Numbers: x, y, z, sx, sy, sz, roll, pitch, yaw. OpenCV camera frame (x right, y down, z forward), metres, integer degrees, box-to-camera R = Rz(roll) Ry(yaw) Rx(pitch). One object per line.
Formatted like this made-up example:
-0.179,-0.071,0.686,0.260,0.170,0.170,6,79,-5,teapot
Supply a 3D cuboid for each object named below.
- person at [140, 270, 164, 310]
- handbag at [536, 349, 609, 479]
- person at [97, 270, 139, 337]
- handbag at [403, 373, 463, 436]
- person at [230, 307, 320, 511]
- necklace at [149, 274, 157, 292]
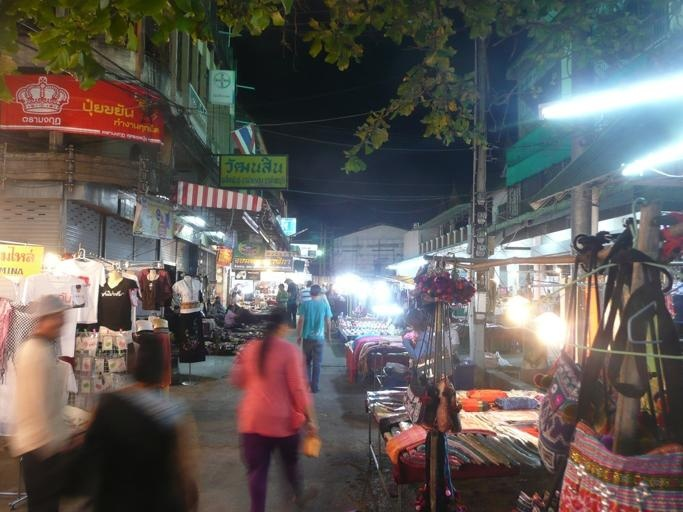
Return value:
-3.458,0.583,11.149,0.477,0.289,0.923,9,-46,-10,person
1.867,1.337,5.169,0.266,0.882,0.597,8,1,6,handbag
-3.439,0.651,9.413,0.561,0.998,0.279,3,-4,-21,person
0.955,1.516,6.290,0.525,0.541,0.352,1,-5,11,handbag
-0.722,1.583,6.445,0.868,2.101,0.481,2,-4,-14,person
-3.417,0.457,11.071,0.121,0.225,0.053,0,-12,1,necklace
